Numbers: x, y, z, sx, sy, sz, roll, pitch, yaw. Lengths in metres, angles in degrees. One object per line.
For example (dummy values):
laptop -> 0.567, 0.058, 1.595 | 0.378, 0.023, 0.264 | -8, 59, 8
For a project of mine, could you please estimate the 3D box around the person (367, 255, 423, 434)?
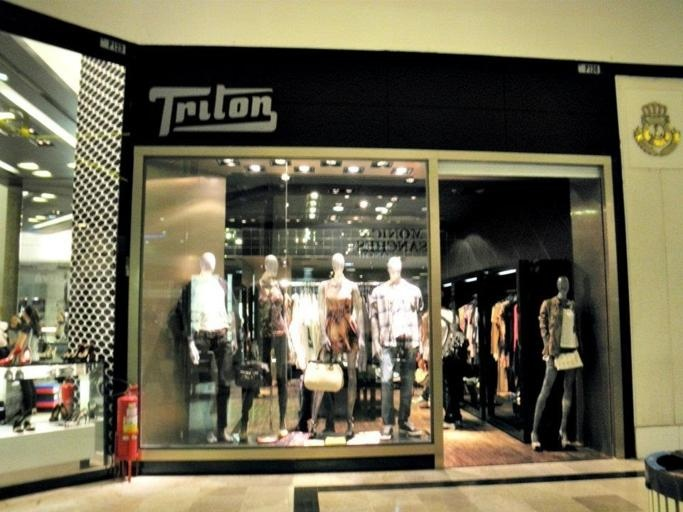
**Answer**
person -> 0.552, 0.908, 6.162 | 0.516, 1.783, 0.285 | 0, 2, 3

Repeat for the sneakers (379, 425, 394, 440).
sneakers -> 0.452, 1.756, 6.083 | 0.077, 0.075, 0.171 | 2, -4, 11

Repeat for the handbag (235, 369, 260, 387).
handbag -> -0.922, 1.217, 6.077 | 0.254, 0.195, 0.148 | 1, -5, 0

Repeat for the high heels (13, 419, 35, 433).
high heels -> -2.866, 1.535, 5.503 | 0.043, 0.081, 0.135 | -14, 2, 42

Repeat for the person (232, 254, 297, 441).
person -> -0.774, 0.905, 6.084 | 0.499, 1.820, 0.249 | 0, 2, -6

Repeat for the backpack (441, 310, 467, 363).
backpack -> 1.373, 0.941, 7.526 | 0.186, 0.580, 0.565 | 7, 34, 17

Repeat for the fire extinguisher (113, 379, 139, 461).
fire extinguisher -> -2.046, 1.627, 5.833 | 0.219, 0.731, 0.303 | -1, 3, -21

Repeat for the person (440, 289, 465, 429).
person -> 1.430, 1.343, 7.752 | 0.292, 1.442, 1.210 | 1, 3, 11

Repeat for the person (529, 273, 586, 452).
person -> 2.339, 1.150, 6.638 | 0.543, 1.835, 0.334 | 0, 2, 4

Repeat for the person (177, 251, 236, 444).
person -> -1.343, 0.889, 6.129 | 0.560, 1.831, 0.272 | 1, 3, 26
